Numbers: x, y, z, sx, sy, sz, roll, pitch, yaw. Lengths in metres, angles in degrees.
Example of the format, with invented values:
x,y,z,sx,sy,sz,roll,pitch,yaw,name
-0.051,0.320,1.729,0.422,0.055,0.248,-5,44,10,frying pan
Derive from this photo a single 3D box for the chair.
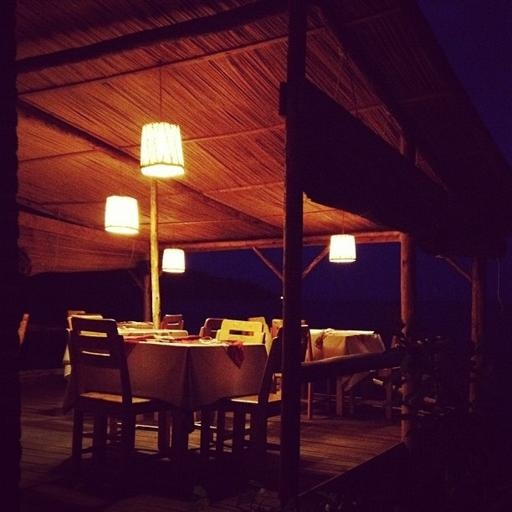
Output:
x,y,z,sx,sy,sz,roll,pitch,yaw,name
-0.381,0.944,3.694,1.924,0.938,0.982,1,-14,2,chair
